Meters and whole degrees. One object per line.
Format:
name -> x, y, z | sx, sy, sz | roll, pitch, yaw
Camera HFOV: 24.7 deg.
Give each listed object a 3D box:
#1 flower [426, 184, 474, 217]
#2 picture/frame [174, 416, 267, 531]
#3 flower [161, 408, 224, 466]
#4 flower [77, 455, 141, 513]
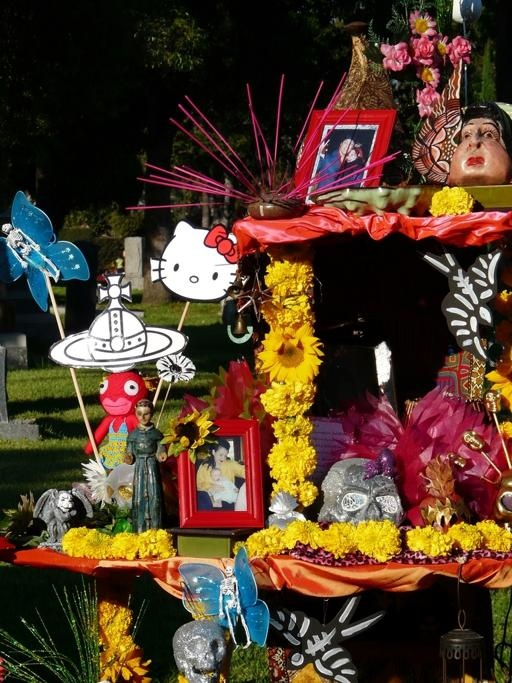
flower -> 0.747, -0.531, 4.456 | 0.165, 0.107, 0.158 | 6, 29, 9
picture/frame -> -0.142, 0.522, 4.512 | 0.506, 0.578, 0.068 | -1, -12, -3
flower -> -0.250, 0.367, 4.437 | 0.218, 0.196, 0.078 | -11, -15, 2
flower -> -0.617, 0.616, 4.941 | 0.248, 0.220, 0.095 | 6, 3, -1
